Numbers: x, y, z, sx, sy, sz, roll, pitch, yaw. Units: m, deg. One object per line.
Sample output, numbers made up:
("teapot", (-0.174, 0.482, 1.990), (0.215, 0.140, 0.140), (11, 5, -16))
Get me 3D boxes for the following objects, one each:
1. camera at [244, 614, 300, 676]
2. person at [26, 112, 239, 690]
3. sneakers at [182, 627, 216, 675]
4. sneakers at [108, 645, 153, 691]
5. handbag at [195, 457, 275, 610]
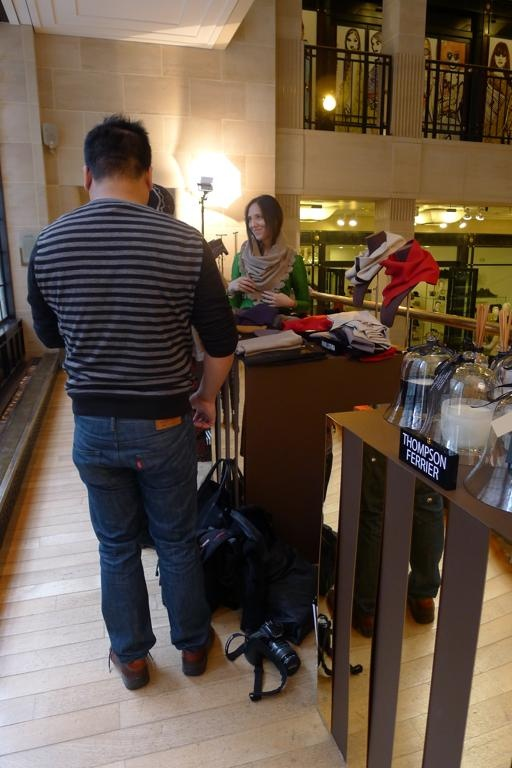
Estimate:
("camera", (0.061, 0.763, 1.627), (0.162, 0.088, 0.131), (17, 22, 29))
("person", (-0.276, 0.203, 1.438), (0.492, 1.275, 0.377), (-6, 13, -25))
("sneakers", (-0.159, 0.757, 1.632), (0.054, 0.098, 0.142), (1, 32, 3))
("sneakers", (-0.344, 0.781, 1.579), (0.056, 0.069, 0.150), (1, 7, -19))
("handbag", (-0.100, 0.489, 2.049), (0.224, 0.259, 0.582), (2, 27, -10))
